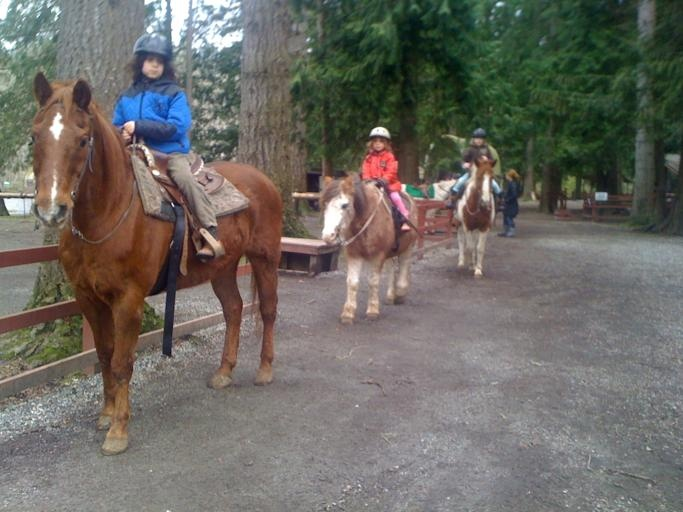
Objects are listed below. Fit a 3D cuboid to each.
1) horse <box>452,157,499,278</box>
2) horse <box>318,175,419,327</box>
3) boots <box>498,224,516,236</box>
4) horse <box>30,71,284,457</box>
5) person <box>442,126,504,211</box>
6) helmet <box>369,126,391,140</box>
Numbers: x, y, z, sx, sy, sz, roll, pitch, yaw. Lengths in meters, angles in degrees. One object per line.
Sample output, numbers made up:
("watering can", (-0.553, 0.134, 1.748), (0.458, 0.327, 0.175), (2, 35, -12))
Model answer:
("horse", (3.065, -0.958, 14.624), (0.873, 2.657, 2.499), (2, 10, 11))
("horse", (0.423, -0.227, 10.625), (0.857, 2.307, 2.255), (6, 11, 30))
("boots", (6.078, -0.927, 23.220), (0.786, 0.664, 0.317), (0, 1, -17))
("horse", (-1.822, -0.238, 7.780), (3.691, 3.611, 2.541), (-6, 12, -35))
("person", (3.293, -2.173, 15.897), (1.328, 2.228, 1.165), (4, 2, 1))
("helmet", (0.696, -2.190, 11.335), (0.235, 0.208, 0.372), (8, 13, 33))
